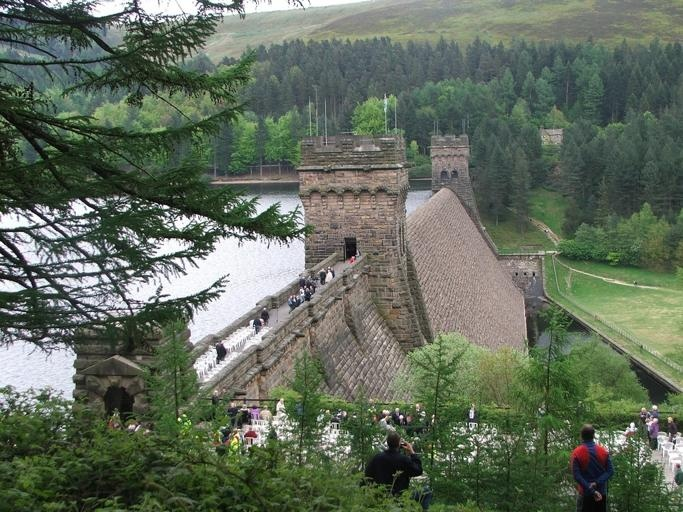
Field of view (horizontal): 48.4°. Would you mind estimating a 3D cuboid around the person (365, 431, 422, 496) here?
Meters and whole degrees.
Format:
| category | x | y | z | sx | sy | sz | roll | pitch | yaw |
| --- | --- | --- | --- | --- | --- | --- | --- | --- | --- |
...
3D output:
| category | x | y | z | sx | sy | sz | roll | pitch | yaw |
| --- | --- | --- | --- | --- | --- | --- | --- | --- | --- |
| person | 0.887 | 3.287 | 11.852 | 0.887 | 0.823 | 0.528 | -6 | 9 | -6 |
